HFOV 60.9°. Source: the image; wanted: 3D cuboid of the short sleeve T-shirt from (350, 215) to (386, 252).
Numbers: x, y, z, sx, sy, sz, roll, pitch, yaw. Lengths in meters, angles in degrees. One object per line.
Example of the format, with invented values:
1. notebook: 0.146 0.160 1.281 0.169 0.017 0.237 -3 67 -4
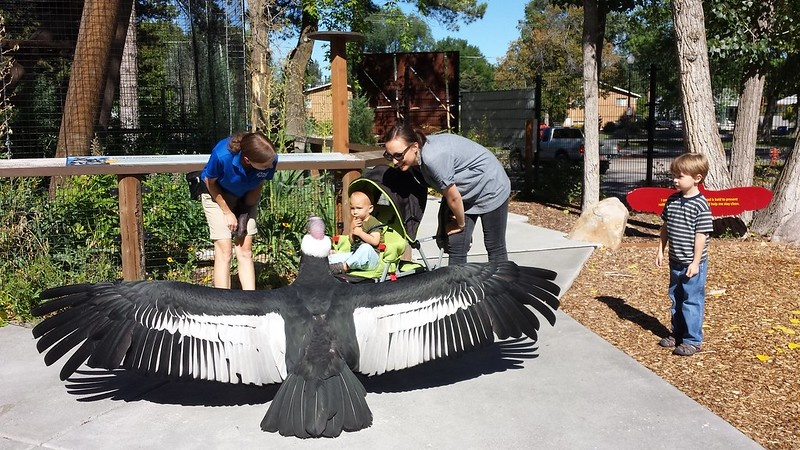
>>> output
1. short sleeve T-shirt: -0.394 0.156 8.830 0.359 0.485 0.185 15 -1 31

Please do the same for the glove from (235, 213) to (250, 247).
1. glove: -2.056 0.037 8.898 0.086 0.349 0.214 12 11 -34

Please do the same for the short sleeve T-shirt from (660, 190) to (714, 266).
1. short sleeve T-shirt: 3.595 0.038 8.529 0.570 0.869 0.314 8 12 30

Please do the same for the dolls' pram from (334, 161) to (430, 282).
1. dolls' pram: -0.292 -0.054 9.097 1.124 1.509 1.444 2 4 42

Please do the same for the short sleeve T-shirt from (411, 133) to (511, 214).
1. short sleeve T-shirt: 0.806 -0.668 8.568 1.030 0.830 0.846 -2 12 -3

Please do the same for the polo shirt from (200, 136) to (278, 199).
1. polo shirt: -2.039 -0.712 8.728 0.848 0.497 0.703 18 -51 -43

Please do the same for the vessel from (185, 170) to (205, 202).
1. vessel: -2.622 -0.520 8.889 0.273 0.363 0.141 5 9 38

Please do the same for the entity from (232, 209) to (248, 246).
1. entity: -2.061 0.028 8.887 0.091 0.356 0.225 13 16 -49

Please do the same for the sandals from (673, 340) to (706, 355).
1. sandals: 3.591 1.519 8.458 0.307 0.151 0.144 0 0 -1

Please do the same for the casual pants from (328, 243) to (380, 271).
1. casual pants: -0.516 0.369 8.636 0.455 0.188 0.370 2 2 -40
